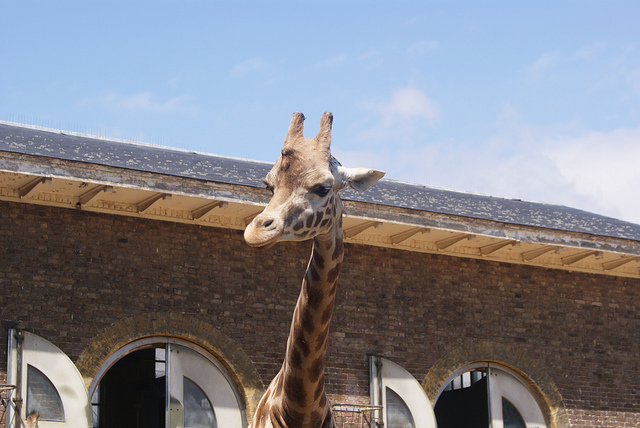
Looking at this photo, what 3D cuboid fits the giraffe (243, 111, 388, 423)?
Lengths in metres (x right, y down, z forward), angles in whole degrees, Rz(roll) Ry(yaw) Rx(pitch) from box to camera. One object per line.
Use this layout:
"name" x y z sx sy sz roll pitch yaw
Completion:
"giraffe" -0.151 0.860 29.018 1.756 4.422 2.891 -2 -20 0
